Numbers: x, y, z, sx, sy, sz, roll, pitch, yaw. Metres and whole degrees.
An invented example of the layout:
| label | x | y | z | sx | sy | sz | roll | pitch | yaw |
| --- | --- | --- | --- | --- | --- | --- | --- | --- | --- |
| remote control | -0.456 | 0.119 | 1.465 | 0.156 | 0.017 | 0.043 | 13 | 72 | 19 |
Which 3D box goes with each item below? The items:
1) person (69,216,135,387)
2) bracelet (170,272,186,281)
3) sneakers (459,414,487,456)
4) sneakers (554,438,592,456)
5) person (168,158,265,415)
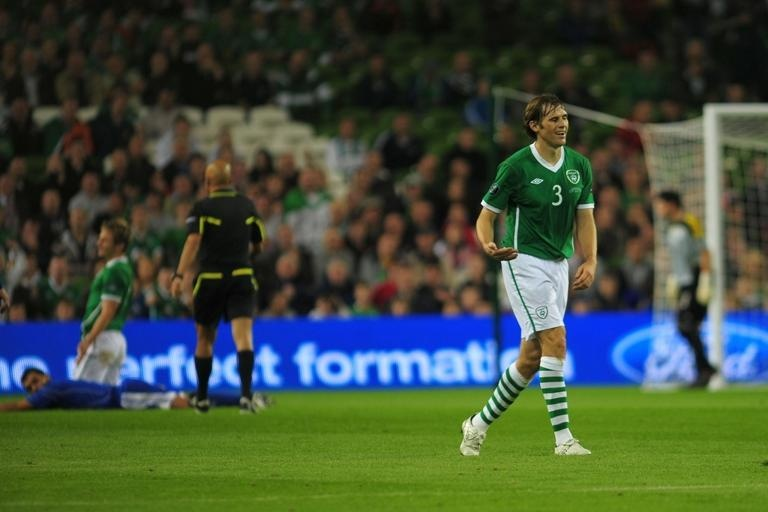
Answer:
| label | x | y | z | sx | sy | sz | roll | pitch | yaw |
| --- | --- | --- | --- | --- | --- | --- | --- | --- | --- |
| person | -3.879 | 0.723 | 17.894 | 0.566 | 2.374 | 0.872 | 6 | 14 | 23 |
| bracelet | -2.807 | 0.272 | 17.444 | 0.186 | 0.098 | 0.117 | 7 | 15 | 27 |
| sneakers | 1.092 | 2.212 | 16.031 | 0.258 | 0.599 | 0.205 | -7 | -8 | 43 |
| sneakers | 2.286 | 2.343 | 15.939 | 0.513 | 0.241 | 0.175 | 0 | -1 | 4 |
| person | -2.226 | 0.445 | 17.677 | 1.128 | 3.300 | 1.167 | -1 | 13 | -5 |
